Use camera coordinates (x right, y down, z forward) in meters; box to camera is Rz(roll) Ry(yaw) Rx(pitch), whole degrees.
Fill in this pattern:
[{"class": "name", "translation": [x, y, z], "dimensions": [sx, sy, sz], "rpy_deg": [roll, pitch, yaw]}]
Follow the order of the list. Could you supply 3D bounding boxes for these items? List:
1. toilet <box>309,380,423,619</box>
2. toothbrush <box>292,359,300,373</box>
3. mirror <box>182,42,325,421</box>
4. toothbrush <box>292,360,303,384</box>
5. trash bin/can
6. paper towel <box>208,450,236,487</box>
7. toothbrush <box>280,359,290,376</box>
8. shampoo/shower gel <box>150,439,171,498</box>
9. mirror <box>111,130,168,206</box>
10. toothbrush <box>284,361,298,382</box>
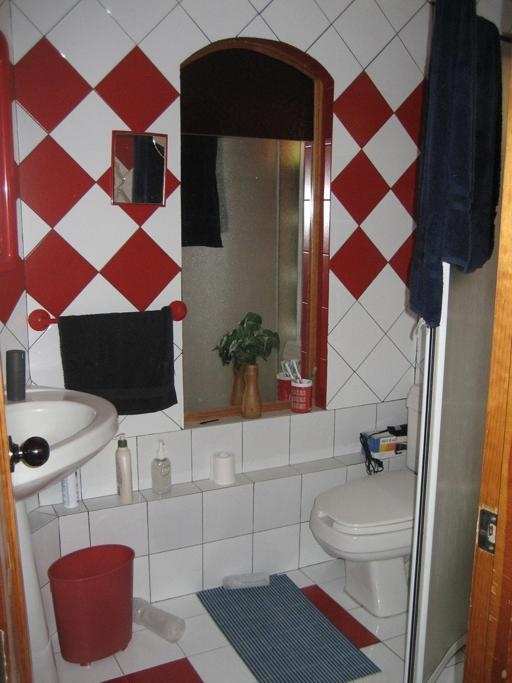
[{"class": "toilet", "translation": [0.498, 0.592, 2.172], "dimensions": [0.524, 0.716, 0.312], "rpy_deg": [-10, 15, -24]}, {"class": "toothbrush", "translation": [0.171, 0.096, 2.551], "dimensions": [0.026, 0.059, 0.014], "rpy_deg": [-15, 9, -18]}, {"class": "mirror", "translation": [0.095, -0.407, 2.360], "dimensions": [0.461, 1.403, 0.150], "rpy_deg": [-4, 8, -33]}, {"class": "toothbrush", "translation": [0.172, 0.129, 2.526], "dimensions": [0.041, 0.091, 0.017], "rpy_deg": [-2, -22, -6]}, {"class": "trash bin/can", "translation": [-0.489, 0.807, 1.845], "dimensions": [0.268, 0.324, 0.231], "rpy_deg": [-2, 8, -24]}, {"class": "paper towel", "translation": [-0.119, 0.472, 2.220], "dimensions": [0.085, 0.118, 0.093], "rpy_deg": [-8, 17, -31]}, {"class": "toothbrush", "translation": [0.115, 0.110, 2.537], "dimensions": [0.018, 0.093, 0.020], "rpy_deg": [-2, 1, 15]}, {"class": "shampoo/shower gel", "translation": [-0.339, 0.440, 2.145], "dimensions": [0.073, 0.186, 0.077], "rpy_deg": [1, 7, 2]}, {"class": "mirror", "translation": [-0.389, -0.583, 2.028], "dimensions": [0.182, 0.253, 0.025], "rpy_deg": [-4, 42, -19]}, {"class": "toothbrush", "translation": [0.149, 0.119, 2.517], "dimensions": [0.040, 0.094, 0.018], "rpy_deg": [-16, -11, 33]}]
